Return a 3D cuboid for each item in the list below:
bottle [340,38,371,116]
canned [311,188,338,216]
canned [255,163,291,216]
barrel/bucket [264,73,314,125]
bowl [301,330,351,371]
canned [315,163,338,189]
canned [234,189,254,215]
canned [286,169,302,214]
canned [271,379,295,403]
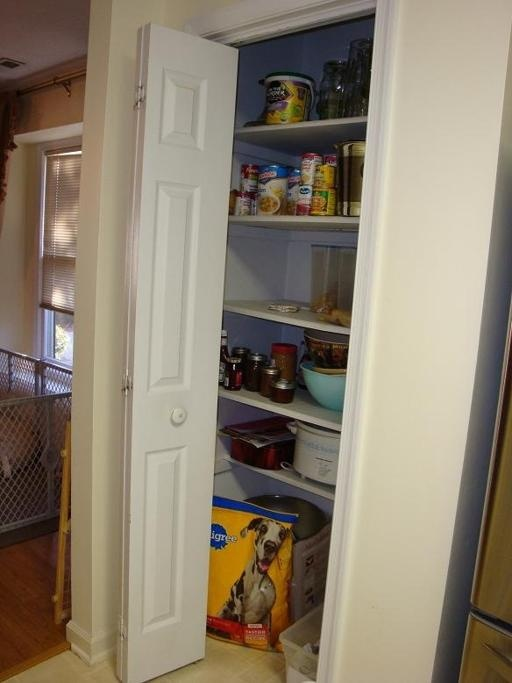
[{"bbox_3d":[0.255,-0.663,1.370,0.084,0.184,0.062,5,20,9],"label":"bottle"},{"bbox_3d":[0.184,-0.369,1.432,0.063,0.079,0.067,6,15,16],"label":"canned"},{"bbox_3d":[0.050,-0.448,1.602,0.082,0.167,0.075,9,15,34],"label":"canned"},{"bbox_3d":[0.087,-0.682,1.561,0.102,0.165,0.147,15,21,40],"label":"barrel/bucket"},{"bbox_3d":[0.198,0.007,1.510,0.134,0.102,0.130,2,13,0],"label":"bowl"},{"bbox_3d":[0.187,-0.433,1.416,0.056,0.071,0.060,5,12,11],"label":"canned"},{"bbox_3d":[-0.044,-0.433,1.663,0.063,0.078,0.067,1,14,-8],"label":"canned"},{"bbox_3d":[0.115,-0.444,1.578,0.039,0.160,0.039,10,52,12],"label":"canned"},{"bbox_3d":[0.079,0.151,1.595,0.059,0.058,0.063,1,12,-14],"label":"canned"}]
